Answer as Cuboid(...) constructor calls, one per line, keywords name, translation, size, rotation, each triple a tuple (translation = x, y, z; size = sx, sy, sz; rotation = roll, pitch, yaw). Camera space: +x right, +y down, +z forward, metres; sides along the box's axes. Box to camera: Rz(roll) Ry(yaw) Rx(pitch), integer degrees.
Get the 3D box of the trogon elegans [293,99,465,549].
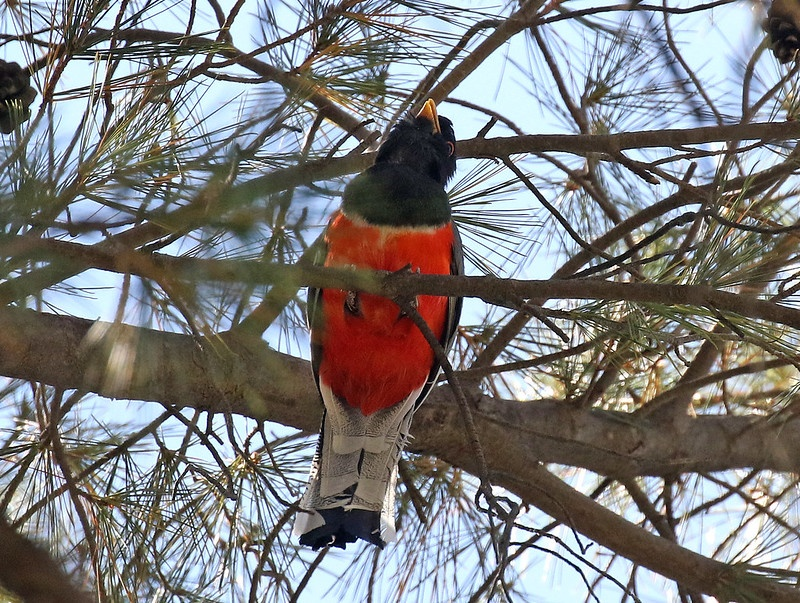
Cuboid(name="trogon elegans", translation=(-0.110, 0.185, 5.304), size=(0.615, 1.017, 2.062), rotation=(9, -82, -13))
